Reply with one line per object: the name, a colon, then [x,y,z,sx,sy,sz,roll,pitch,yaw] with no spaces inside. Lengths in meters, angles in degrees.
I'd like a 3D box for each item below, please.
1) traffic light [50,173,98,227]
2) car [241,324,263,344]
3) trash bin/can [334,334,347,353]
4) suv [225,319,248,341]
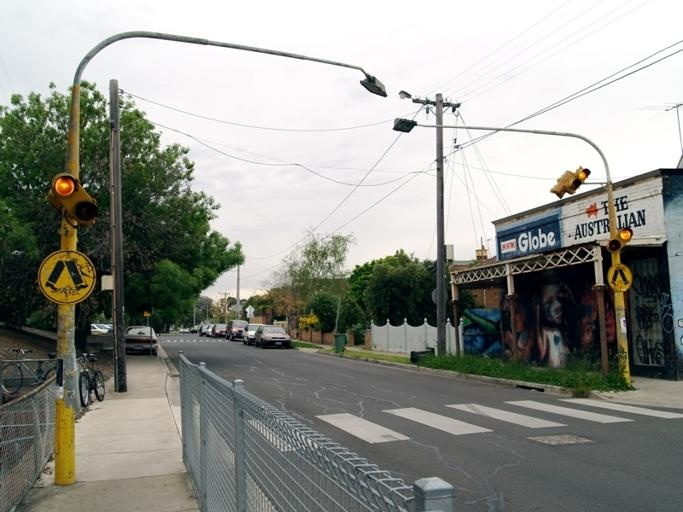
traffic light: [-4.505,-0.939,10.346,0.692,0.840,0.559,0,-2,-28]
car: [-6.500,5.567,44.498,0.948,0.965,2.090,2,-15,-15]
trash bin/can: [-0.138,4.994,35.558,0.729,1.197,0.819,2,-9,-7]
suv: [-9.249,6.487,54.847,1.546,1.676,3.230,2,-13,-19]
